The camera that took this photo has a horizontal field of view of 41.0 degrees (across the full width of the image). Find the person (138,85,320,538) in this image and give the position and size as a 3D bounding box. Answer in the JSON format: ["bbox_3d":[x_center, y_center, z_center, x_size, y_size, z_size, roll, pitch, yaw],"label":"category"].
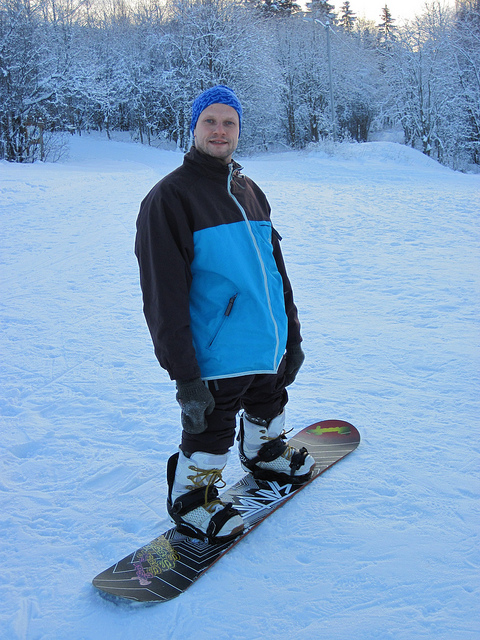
[{"bbox_3d":[-0.048,-0.046,3.049,0.792,2.121,0.733,0,7,2],"label":"person"}]

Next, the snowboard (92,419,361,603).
[{"bbox_3d":[0.096,0.836,3.202,1.578,0.095,0.338,-32,43,-29],"label":"snowboard"}]
